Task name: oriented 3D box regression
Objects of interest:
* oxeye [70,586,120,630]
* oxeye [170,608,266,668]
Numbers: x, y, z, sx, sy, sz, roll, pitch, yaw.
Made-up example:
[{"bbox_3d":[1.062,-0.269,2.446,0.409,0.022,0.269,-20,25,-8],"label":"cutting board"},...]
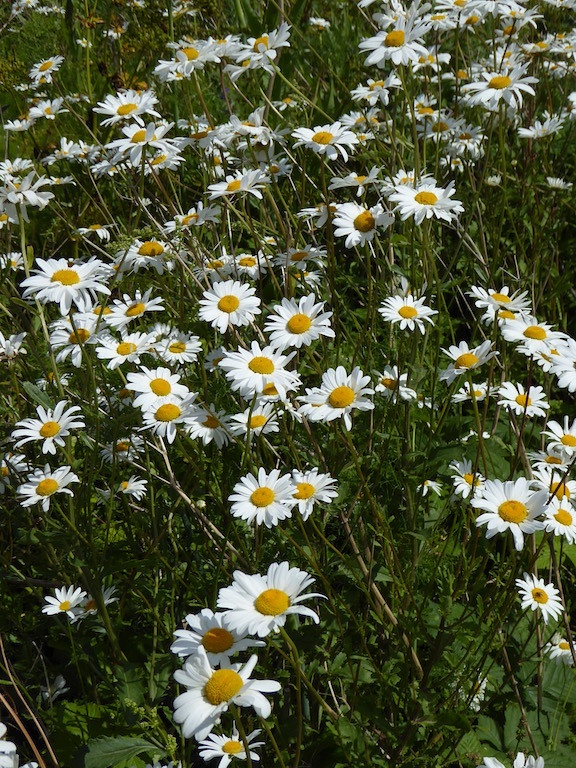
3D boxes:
[{"bbox_3d":[-0.632,0.724,2.433,0.163,0.043,0.164,-39,10,0],"label":"oxeye"},{"bbox_3d":[-0.152,0.536,1.565,0.124,0.028,0.133,6,29,-1],"label":"oxeye"}]
